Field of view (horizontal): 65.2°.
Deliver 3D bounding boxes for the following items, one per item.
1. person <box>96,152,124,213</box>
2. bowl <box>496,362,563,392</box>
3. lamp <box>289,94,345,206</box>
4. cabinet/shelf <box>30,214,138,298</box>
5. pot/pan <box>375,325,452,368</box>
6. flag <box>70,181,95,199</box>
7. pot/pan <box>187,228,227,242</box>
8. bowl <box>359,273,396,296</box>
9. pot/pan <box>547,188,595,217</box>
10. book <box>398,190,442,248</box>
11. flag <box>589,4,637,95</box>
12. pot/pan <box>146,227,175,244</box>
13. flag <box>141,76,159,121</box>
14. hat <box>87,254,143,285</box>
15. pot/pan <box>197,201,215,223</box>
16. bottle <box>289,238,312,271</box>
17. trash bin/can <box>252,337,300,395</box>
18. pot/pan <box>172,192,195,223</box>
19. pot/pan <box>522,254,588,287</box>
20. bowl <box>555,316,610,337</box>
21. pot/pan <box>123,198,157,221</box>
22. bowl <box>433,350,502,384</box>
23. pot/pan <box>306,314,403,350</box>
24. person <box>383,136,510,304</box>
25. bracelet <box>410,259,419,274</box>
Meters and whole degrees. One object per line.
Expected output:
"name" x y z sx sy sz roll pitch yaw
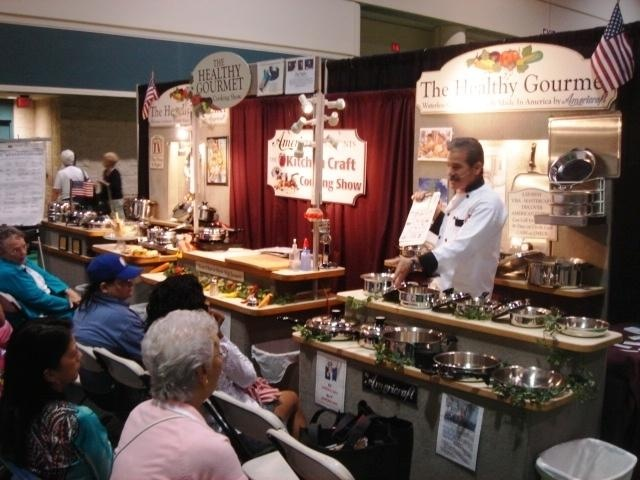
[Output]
"person" -3.834 -1.003 9.117 0.426 1.147 0.549 -2 6 -25
"bowl" 1.153 0.782 2.768 0.330 0.083 0.343 1 6 0
"lamp" -0.011 -0.714 4.998 0.437 1.071 0.467 10 38 13
"cabinet/shelf" -3.674 0.410 7.966 1.618 1.214 0.969 9 4 31
"pot/pan" 0.641 0.673 3.201 0.538 0.192 0.443 3 5 17
"flag" -3.783 -0.792 7.932 0.362 0.283 0.376 -1 6 -22
"pot/pan" -1.330 -0.070 5.910 0.482 0.157 0.237 6 7 39
"bowl" 0.449 0.333 3.778 0.169 0.077 0.173 1 7 0
"pot/pan" 2.015 -0.308 4.038 0.233 0.171 0.232 -2 6 -41
"book" 0.733 -0.149 3.649 0.234 0.397 0.456 2 6 17
"flag" 2.230 -1.453 3.795 0.278 0.582 0.167 3 6 26
"pot/pan" -2.012 -0.054 6.356 0.220 0.132 0.355 2 3 -9
"flag" -2.554 -2.199 7.494 0.219 0.757 0.955 -1 6 -20
"hat" -1.418 0.192 3.430 0.385 0.202 0.264 -2 9 -4
"pot/pan" -1.386 -0.343 6.197 0.221 0.201 0.222 3 -4 -39
"bottle" -0.177 0.143 4.887 0.211 0.293 0.327 3 6 17
"trash bin/can" -0.395 1.126 4.487 0.438 0.377 0.394 0 2 -7
"pot/pan" -1.847 -0.437 6.835 0.182 0.408 0.535 -4 7 -42
"pot/pan" 1.912 0.252 4.176 0.348 0.270 0.481 -1 6 2
"bowl" 1.557 0.515 2.956 0.253 0.069 0.319 4 7 32
"pot/pan" -2.837 -0.476 7.891 0.480 0.293 0.584 6 7 37
"bowl" 0.862 0.744 2.948 0.353 0.109 0.283 5 7 38
"pot/pan" 0.155 0.627 3.501 0.390 0.123 0.279 0 5 14
"person" 1.076 0.117 4.039 0.735 1.725 1.071 12 31 39
"bracelet" 0.664 0.188 3.536 0.072 0.084 0.091 -1 12 -1
